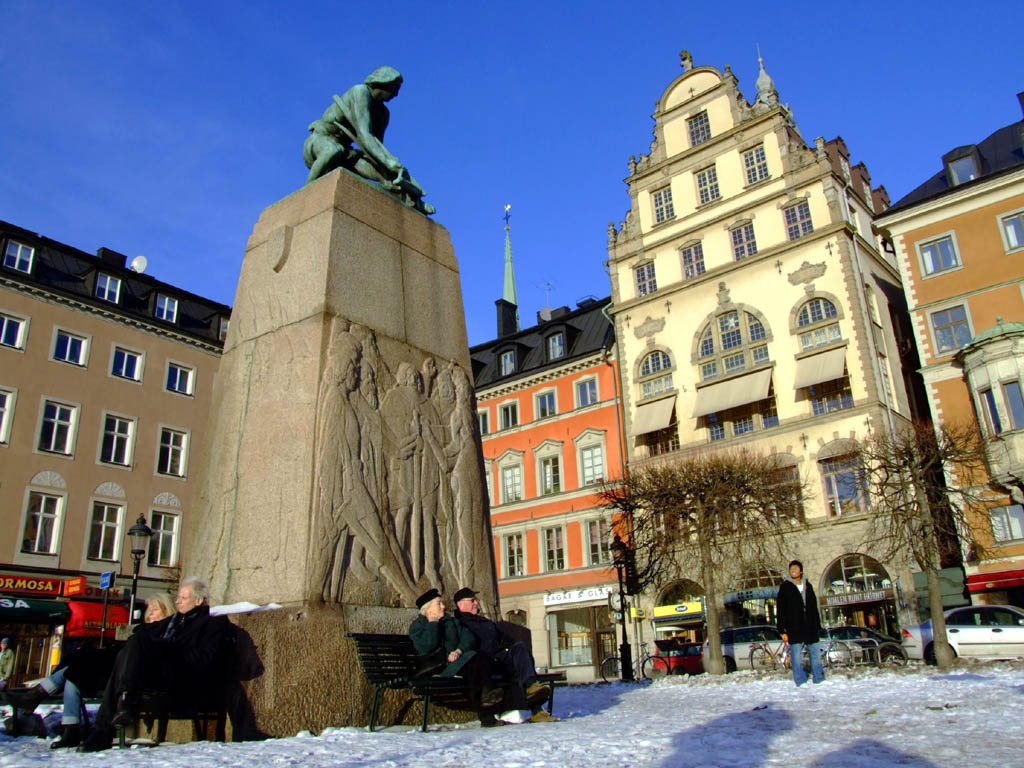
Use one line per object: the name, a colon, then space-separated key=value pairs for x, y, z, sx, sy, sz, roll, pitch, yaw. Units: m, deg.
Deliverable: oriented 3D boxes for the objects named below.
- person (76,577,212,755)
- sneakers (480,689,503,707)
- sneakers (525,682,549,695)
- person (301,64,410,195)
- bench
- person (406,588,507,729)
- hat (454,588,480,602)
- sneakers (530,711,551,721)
person: x=-2.710 y=2.104 z=5.641 sx=0.503 sy=1.200 sz=0.883 roll=-9 pitch=-20 yaw=14
sneakers: x=-0.194 y=2.801 z=6.538 sx=0.142 sy=0.074 sz=0.206 roll=0 pitch=-31 yaw=22
sneakers: x=0.234 y=2.874 z=6.875 sx=0.202 sy=0.088 sz=0.089 roll=3 pitch=23 yaw=-16
person: x=-2.100 y=-3.439 z=9.972 sx=1.330 sy=1.828 sz=0.526 roll=0 pitch=-20 yaw=-11
bench: x=-0.651 y=2.731 z=6.588 sx=0.627 sy=0.827 sz=1.835 roll=12 pitch=-20 yaw=-43
person: x=-0.557 y=2.522 z=6.766 sx=0.777 sy=1.232 sz=0.496 roll=-2 pitch=-20 yaw=-4
hat: x=-0.438 y=2.134 z=7.424 sx=0.295 sy=0.103 sz=0.210 roll=3 pitch=-15 yaw=-17
sneakers: x=0.264 y=3.169 z=6.972 sx=0.170 sy=0.071 sz=0.084 roll=-1 pitch=-22 yaw=4
